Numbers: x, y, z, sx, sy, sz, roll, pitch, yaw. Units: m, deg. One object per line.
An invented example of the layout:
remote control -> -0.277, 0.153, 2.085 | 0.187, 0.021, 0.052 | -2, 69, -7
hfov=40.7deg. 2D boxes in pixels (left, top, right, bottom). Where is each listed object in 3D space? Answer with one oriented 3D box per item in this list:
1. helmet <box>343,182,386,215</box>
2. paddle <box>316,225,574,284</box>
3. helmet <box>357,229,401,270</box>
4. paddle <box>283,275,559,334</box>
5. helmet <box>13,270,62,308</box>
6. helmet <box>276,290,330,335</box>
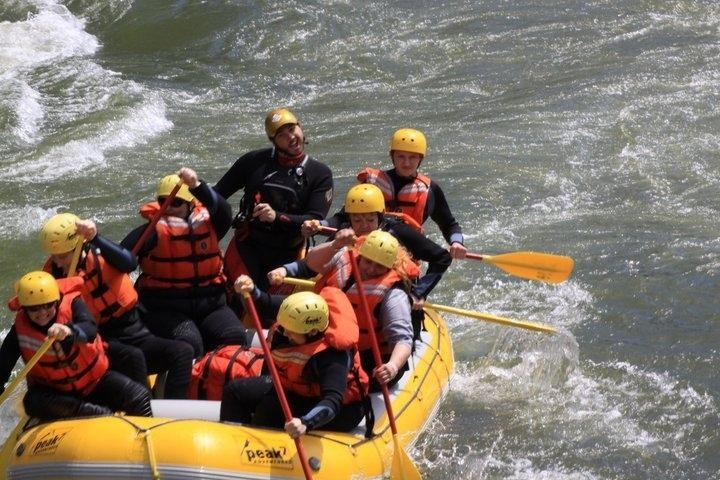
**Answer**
helmet -> 0.031, -0.449, 11.319 | 0.324, 0.315, 0.413 | 0, -21, 5
paddle -> 1.051, 0.218, 12.294 | 3.601, 0.464, 0.125 | 10, 24, 2
helmet -> 0.201, 0.113, 10.881 | 0.353, 0.255, 0.475 | 25, 2, -1
paddle -> 0.720, 0.807, 11.715 | 2.264, 0.170, 0.311 | 13, -15, -2
helmet -> -3.381, 0.543, 10.249 | 0.331, 0.320, 0.436 | -9, -24, 31
helmet -> -0.625, 0.753, 10.203 | 0.522, 0.376, 0.374 | 8, 43, -31
